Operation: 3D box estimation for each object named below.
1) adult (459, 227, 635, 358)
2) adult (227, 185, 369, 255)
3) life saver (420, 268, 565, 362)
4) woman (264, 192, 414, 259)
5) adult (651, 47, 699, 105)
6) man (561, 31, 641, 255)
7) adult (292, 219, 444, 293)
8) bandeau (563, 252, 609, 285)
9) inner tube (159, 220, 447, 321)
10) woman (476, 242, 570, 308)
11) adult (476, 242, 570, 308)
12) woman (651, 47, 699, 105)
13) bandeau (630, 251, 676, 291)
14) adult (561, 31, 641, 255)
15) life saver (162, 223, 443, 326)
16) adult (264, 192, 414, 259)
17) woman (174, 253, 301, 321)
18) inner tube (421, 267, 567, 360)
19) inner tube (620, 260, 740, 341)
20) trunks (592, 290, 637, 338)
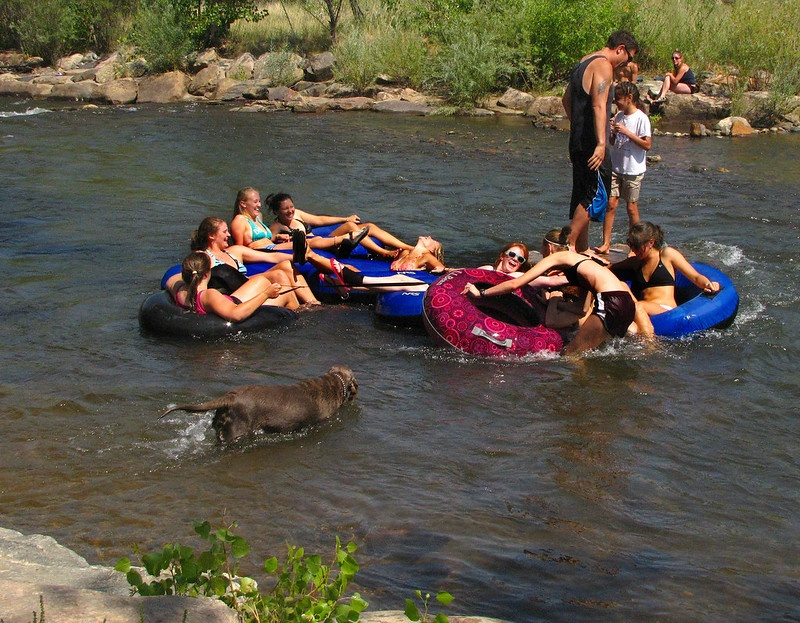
[{"bbox_3d":[1.618,-0.041,10.080,1.579,0.463,1.182,-2,41,-13],"label":"adult"},{"bbox_3d":[-1.250,-1.117,12.040,1.772,0.812,0.669,-4,12,18],"label":"adult"},{"bbox_3d":[0.987,0.114,10.271,1.223,0.365,1.120,9,27,-13],"label":"life saver"},{"bbox_3d":[-0.819,-1.081,12.315,2.006,0.928,0.853,2,26,6],"label":"woman"},{"bbox_3d":[7.134,-6.056,24.635,1.386,1.199,0.645,7,16,35],"label":"adult"},{"bbox_3d":[2.280,-1.974,11.223,0.749,2.564,0.739,-2,14,-4],"label":"man"},{"bbox_3d":[-0.244,-0.639,11.295,1.327,0.456,0.913,-4,14,-21],"label":"adult"},{"bbox_3d":[1.946,-0.436,10.226,0.322,0.162,0.403,-10,-5,-39],"label":"bandeau"},{"bbox_3d":[-0.704,-0.389,11.386,2.416,0.334,1.400,12,21,31],"label":"inner tube"},{"bbox_3d":[1.319,-0.499,10.671,0.647,0.313,0.844,3,-7,22],"label":"woman"},{"bbox_3d":[1.192,-0.491,11.051,1.027,0.543,1.454,6,5,-13],"label":"adult"},{"bbox_3d":[6.884,-6.038,24.503,1.445,1.236,0.625,-8,18,-27],"label":"woman"},{"bbox_3d":[2.913,-0.473,11.018,0.412,0.345,0.218,-21,-13,25],"label":"bandeau"},{"bbox_3d":[2.280,-1.974,11.225,0.749,2.564,0.743,-2,14,-4],"label":"adult"},{"bbox_3d":[-0.600,-0.376,11.352,2.311,0.324,1.381,17,22,36],"label":"life saver"},{"bbox_3d":[-0.694,-1.068,12.165,2.020,0.885,0.850,4,36,21],"label":"adult"},{"bbox_3d":[-1.760,-0.304,10.739,1.132,0.531,0.693,-12,16,-39],"label":"woman"},{"bbox_3d":[0.952,0.099,10.258,1.221,0.368,1.122,11,27,-10],"label":"inner tube"},{"bbox_3d":[3.251,-0.072,10.815,1.054,0.261,0.982,-15,28,-18],"label":"inner tube"},{"bbox_3d":[2.236,0.033,10.152,0.630,0.541,0.433,1,-2,-38],"label":"trunks"}]
